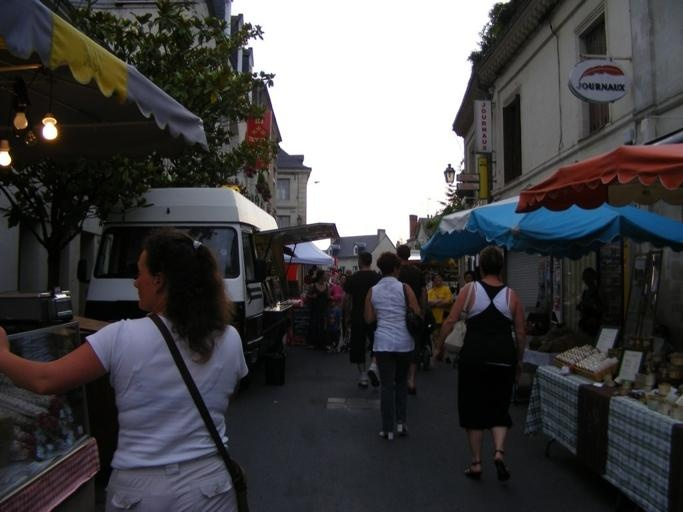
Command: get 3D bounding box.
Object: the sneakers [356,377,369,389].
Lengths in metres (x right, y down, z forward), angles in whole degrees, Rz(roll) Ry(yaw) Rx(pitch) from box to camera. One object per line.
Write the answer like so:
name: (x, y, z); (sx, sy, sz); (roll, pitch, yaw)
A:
sneakers: (0.354, 2.160, 10.124); (0.137, 0.142, 0.139); (1, -5, -15)

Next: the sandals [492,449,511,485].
sandals: (1.545, 2.097, 5.850); (0.122, 0.434, 0.160); (-5, 27, 10)

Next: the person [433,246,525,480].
person: (1.433, 1.068, 6.161); (0.818, 2.341, 0.602); (1, 0, 17)

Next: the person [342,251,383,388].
person: (0.359, 0.989, 9.839); (0.568, 2.177, 0.853); (-1, 2, 3)

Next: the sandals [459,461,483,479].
sandals: (1.314, 2.173, 6.120); (0.107, 0.165, 0.208); (0, 1, -19)

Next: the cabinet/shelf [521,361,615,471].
cabinet/shelf: (2.309, 1.668, 6.328); (0.648, 0.608, 0.715); (2, -1, 25)

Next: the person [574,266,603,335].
person: (3.660, 0.661, 8.910); (0.332, 0.725, 1.233); (1, 1, 22)

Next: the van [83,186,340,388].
van: (-2.154, 0.476, 10.766); (2.606, 2.952, 4.797); (0, -7, 8)

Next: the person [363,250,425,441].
person: (0.595, 1.231, 7.228); (0.643, 1.920, 0.416); (1, 0, 1)
